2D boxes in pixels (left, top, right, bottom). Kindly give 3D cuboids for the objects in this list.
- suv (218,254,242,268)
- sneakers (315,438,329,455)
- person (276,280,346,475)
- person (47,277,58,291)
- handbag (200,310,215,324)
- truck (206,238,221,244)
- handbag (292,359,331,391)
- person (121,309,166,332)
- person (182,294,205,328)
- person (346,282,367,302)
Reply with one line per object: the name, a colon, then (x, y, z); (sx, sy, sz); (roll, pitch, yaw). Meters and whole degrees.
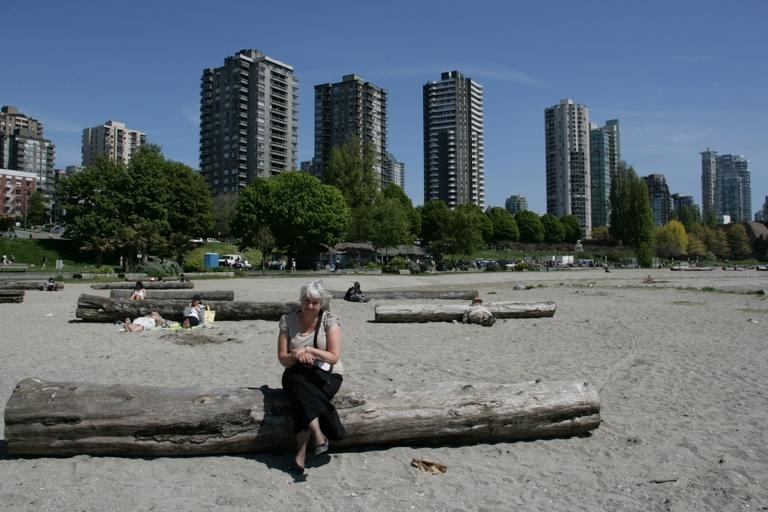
suv: (-16.282, 0.376, 73.591); (2.168, 1.353, 2.932); (-1, -8, 9)
sneakers: (-1.008, 3.101, 11.253); (0.384, 0.101, 0.144); (-44, -25, 26)
person: (-1.201, 1.981, 11.419); (1.040, 2.553, 0.481); (-2, 1, -8)
person: (-15.488, 1.287, 31.994); (0.484, 0.603, 1.070); (-2, 0, -26)
handbag: (-5.157, 1.762, 20.134); (0.286, 0.374, 0.388); (1, -7, -10)
truck: (-25.556, -2.582, 103.398); (2.111, 1.015, 1.371); (-3, -1, 2)
handbag: (-1.185, 1.954, 11.327); (0.525, 0.180, 0.404); (16, -4, -34)
person: (-6.739, 1.811, 19.343); (0.860, 0.493, 1.430); (-2, 0, 7)
person: (-5.506, 1.595, 19.844); (0.580, 0.721, 1.338); (1, 10, -3)
person: (-1.096, 1.453, 27.137); (0.923, 0.720, 0.621); (-6, -4, 41)
